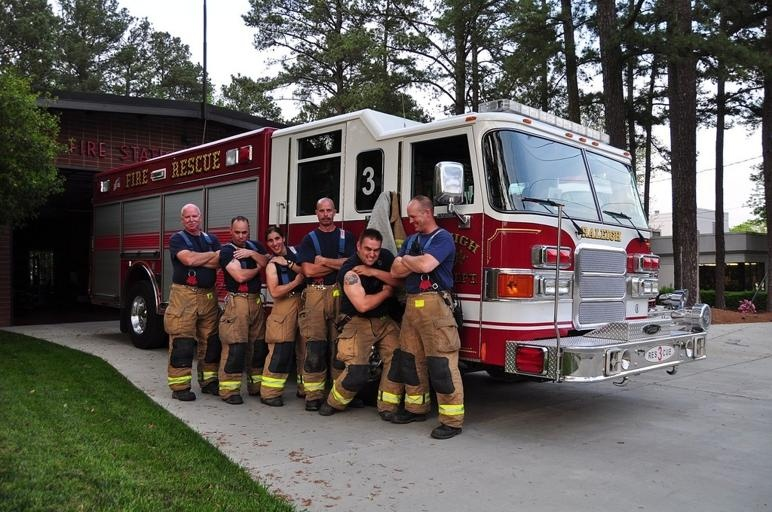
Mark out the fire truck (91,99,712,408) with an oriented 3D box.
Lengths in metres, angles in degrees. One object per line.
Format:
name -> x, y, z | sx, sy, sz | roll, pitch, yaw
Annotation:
fire truck -> -0.729, -0.670, 10.240 | 9.023, 3.217, 4.417 | 0, 0, 44

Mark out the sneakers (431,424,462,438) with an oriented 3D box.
sneakers -> 0.722, 2.134, 7.620 | 0.350, 0.155, 0.160 | 11, -13, -37

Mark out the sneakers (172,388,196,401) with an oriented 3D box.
sneakers -> -2.773, 1.931, 8.630 | 0.362, 0.271, 0.130 | -7, -9, 29

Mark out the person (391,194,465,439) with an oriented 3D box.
person -> 0.527, 0.755, 7.622 | 0.852, 2.904, 0.503 | 6, 8, 39

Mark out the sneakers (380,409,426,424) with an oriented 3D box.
sneakers -> 0.200, 2.078, 8.085 | 0.565, 0.269, 0.209 | 8, -8, -28
